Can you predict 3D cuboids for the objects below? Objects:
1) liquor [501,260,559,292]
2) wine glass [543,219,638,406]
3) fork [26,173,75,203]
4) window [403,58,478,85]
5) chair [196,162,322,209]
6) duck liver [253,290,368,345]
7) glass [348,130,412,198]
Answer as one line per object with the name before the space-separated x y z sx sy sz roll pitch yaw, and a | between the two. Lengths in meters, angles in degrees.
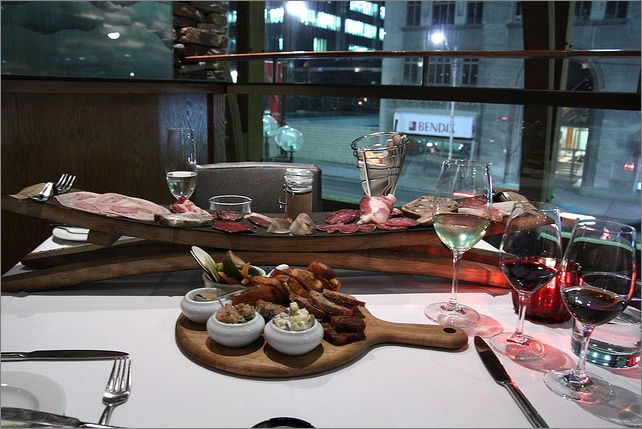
liquor | 0.446 0.130 0.927 0.117 0.032 0.090 2 3 6
wine glass | 0.568 0.196 0.894 0.148 0.362 0.202 11 22 25
fork | -0.775 -0.072 1.241 0.051 0.020 0.134 8 31 6
window | 0.947 -1.132 3.354 0.029 0.243 0.702 -33 36 -32
chair | -0.430 -0.090 2.145 0.604 0.261 0.385 -2 -7 31
duck liver | -0.023 0.256 1.017 0.190 0.035 0.165 17 8 14
glass | 0.205 -0.167 1.456 0.184 0.212 0.284 -3 16 -9
